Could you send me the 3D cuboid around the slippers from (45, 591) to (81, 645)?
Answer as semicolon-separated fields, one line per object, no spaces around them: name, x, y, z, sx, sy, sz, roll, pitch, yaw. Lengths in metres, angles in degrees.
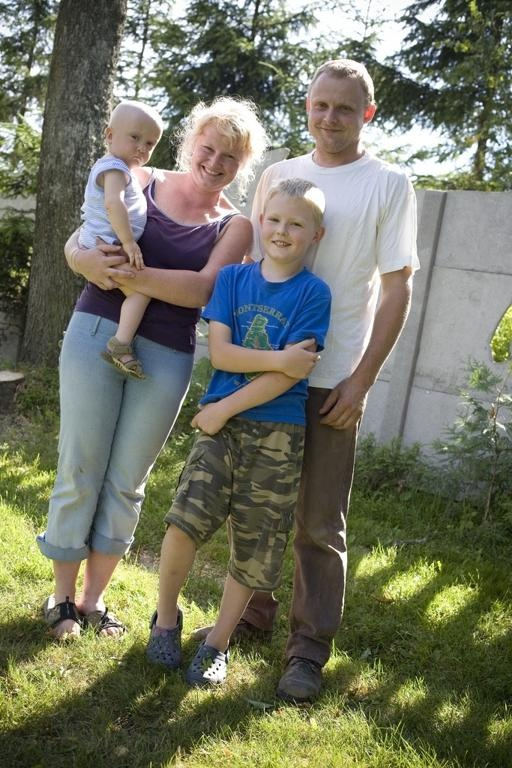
slippers;-0.678;0.821;2.466;0.076;0.056;0.187;-3;13;-20

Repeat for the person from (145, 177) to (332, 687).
person;-0.048;0.159;2.310;0.455;1.660;0.335;8;7;4

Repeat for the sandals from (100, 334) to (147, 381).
sandals;-0.439;-0.086;2.305;0.166;0.074;0.083;36;14;-15

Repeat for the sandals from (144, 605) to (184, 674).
sandals;-0.317;0.861;2.371;0.095;0.199;0.074;1;-30;4
